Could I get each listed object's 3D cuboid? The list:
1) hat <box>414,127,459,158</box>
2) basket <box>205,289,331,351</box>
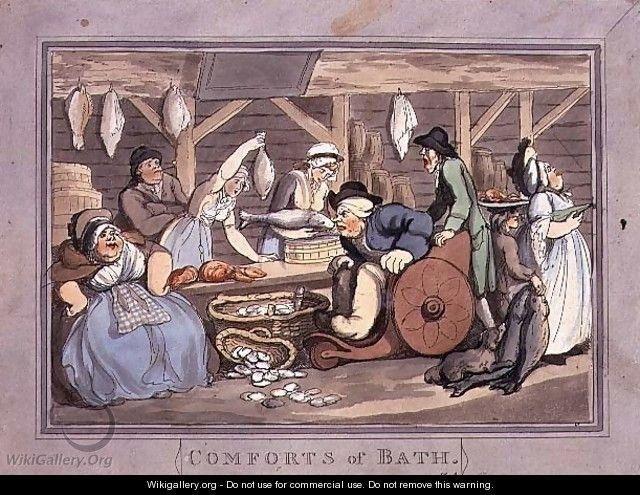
[{"bbox_3d":[1.091,-0.976,13.831,0.344,0.136,0.270,24,3,-45],"label":"hat"},{"bbox_3d":[-0.504,0.651,13.760,0.853,0.341,0.609,-2,1,-2],"label":"basket"}]
